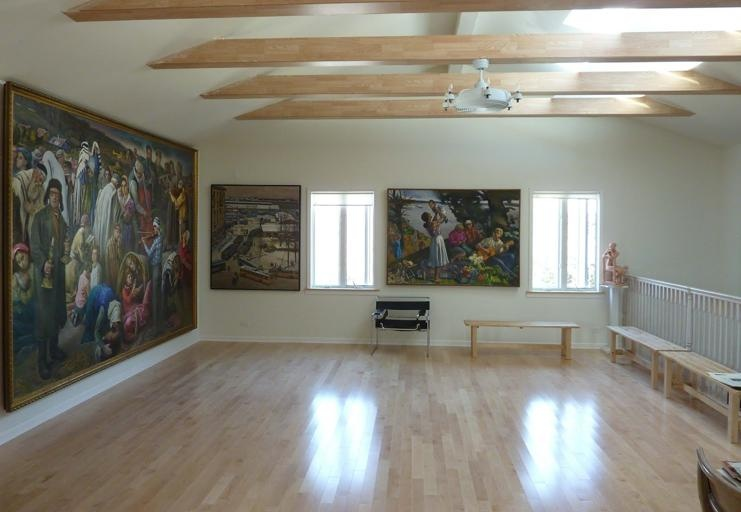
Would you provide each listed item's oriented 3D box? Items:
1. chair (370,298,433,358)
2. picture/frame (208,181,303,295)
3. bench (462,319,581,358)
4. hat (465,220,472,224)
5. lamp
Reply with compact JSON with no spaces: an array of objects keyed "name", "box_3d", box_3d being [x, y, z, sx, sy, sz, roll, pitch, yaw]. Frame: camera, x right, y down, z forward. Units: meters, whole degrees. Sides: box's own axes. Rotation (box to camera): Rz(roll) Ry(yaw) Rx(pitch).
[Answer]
[{"name":"chair","box_3d":[0.565,1.224,9.154,0.999,0.943,0.690,0,4,11]},{"name":"picture/frame","box_3d":[-2.106,-0.448,9.656,2.121,2.490,0.090,0,-1,2]},{"name":"bench","box_3d":[2.711,1.399,9.028,1.869,0.627,0.843,1,13,4]},{"name":"hat","box_3d":[1.808,-0.644,9.412,0.119,0.080,0.031,3,14,14]},{"name":"lamp","box_3d":[1.355,-2.159,6.450,0.840,0.599,1.382,1,13,4]}]
